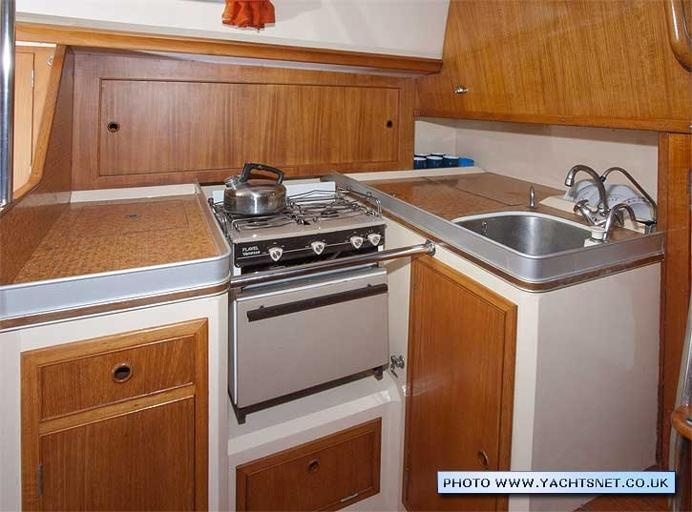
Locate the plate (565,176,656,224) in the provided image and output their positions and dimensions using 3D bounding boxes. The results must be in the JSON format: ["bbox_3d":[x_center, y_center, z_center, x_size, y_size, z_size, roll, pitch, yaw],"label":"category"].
[{"bbox_3d":[1.096,-0.243,2.182,0.232,0.067,0.248,-26,33,-13],"label":"plate"}]

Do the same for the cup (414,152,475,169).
[{"bbox_3d":[0.563,-0.588,3.131,0.261,0.100,0.143,-4,12,-19],"label":"cup"}]

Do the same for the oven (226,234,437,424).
[{"bbox_3d":[-0.157,0.274,2.359,0.823,0.633,0.517,-7,12,-29],"label":"oven"}]

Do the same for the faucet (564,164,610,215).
[{"bbox_3d":[1.004,-0.300,2.218,0.155,0.191,0.552,4,15,24],"label":"faucet"}]

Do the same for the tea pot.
[{"bbox_3d":[-0.389,-0.304,2.322,0.264,0.199,0.251,3,22,-1],"label":"tea pot"}]
